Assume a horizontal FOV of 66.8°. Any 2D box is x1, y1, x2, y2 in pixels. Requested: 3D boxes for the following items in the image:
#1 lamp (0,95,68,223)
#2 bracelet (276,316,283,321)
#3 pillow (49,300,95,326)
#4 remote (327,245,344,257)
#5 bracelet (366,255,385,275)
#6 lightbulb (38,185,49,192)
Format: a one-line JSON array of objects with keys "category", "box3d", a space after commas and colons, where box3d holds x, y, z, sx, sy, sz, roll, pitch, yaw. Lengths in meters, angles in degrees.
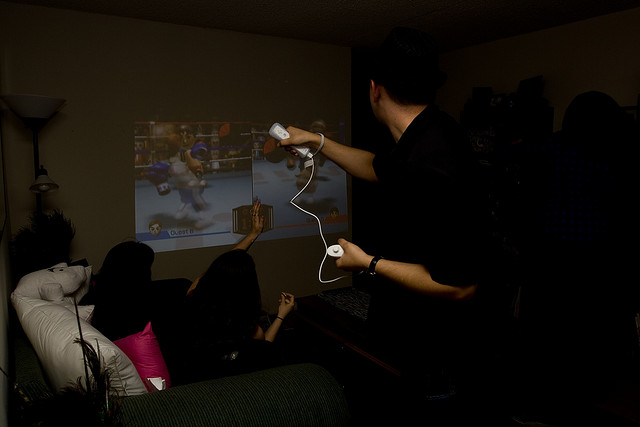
[{"category": "lamp", "box3d": [-2.050, -0.410, 3.585, 0.383, 0.905, 0.621, -9, 15, -33]}, {"category": "bracelet", "box3d": [-0.270, 0.702, 3.220, 0.035, 0.024, 0.033, 3, -1, 3]}, {"category": "pillow", "box3d": [-1.355, 0.529, 2.663, 0.208, 0.058, 0.177, 16, 5, 28]}, {"category": "remote", "box3d": [0.073, 0.188, 2.436, 0.081, 0.060, 0.076, -2, 13, -5]}, {"category": "bracelet", "box3d": [0.275, 0.265, 2.398, 0.079, 0.117, 0.109, 0, 13, 5]}, {"category": "lightbulb", "box3d": [-1.934, -0.176, 3.382, 0.064, 0.051, 0.064, -12, 17, -40]}]
